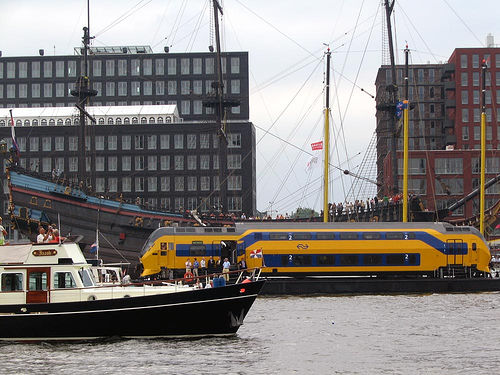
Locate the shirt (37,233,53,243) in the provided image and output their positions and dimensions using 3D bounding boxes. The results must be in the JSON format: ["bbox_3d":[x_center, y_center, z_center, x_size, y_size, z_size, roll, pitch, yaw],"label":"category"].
[{"bbox_3d":[-19.050,4.754,136.843,0.800,1.034,0.935,0,-6,-37],"label":"shirt"}]

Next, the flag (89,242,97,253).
[{"bbox_3d":[-16.618,6.373,155.899,0.156,1.229,1.149,-4,12,-29],"label":"flag"}]

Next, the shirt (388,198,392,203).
[{"bbox_3d":[16.182,1.585,169.707,0.176,0.485,0.478,5,-14,14],"label":"shirt"}]

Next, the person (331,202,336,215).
[{"bbox_3d":[8.701,2.422,153.638,0.315,1.247,0.447,-1,5,10],"label":"person"}]

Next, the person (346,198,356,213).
[{"bbox_3d":[10.160,2.160,148.433,0.971,1.512,2.629,-1,-5,1],"label":"person"}]

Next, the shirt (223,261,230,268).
[{"bbox_3d":[-2.398,7.936,150.856,0.810,0.821,0.458,2,-1,9],"label":"shirt"}]
